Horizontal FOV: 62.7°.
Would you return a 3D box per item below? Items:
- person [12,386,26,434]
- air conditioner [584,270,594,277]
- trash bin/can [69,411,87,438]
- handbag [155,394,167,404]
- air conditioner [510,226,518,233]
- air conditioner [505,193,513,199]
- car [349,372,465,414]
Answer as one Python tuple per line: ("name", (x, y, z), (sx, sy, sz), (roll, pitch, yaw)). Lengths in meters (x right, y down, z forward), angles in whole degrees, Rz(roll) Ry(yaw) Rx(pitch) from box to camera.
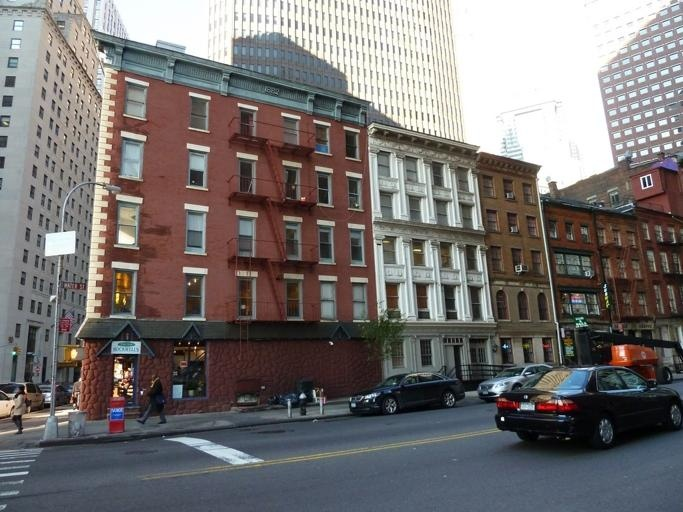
("person", (-13.562, 6.495, 23.711), (0.445, 1.930, 1.297), (1, -11, -28))
("air conditioner", (20.805, 1.376, 46.894), (0.985, 0.659, 0.549), (3, -11, -34))
("trash bin/can", (-9.900, 6.265, 21.091), (0.563, 0.896, 0.698), (1, -10, -27))
("handbag", (-7.761, 6.162, 24.274), (0.391, 0.323, 0.356), (-9, 8, -29))
("air conditioner", (13.783, -2.183, 44.508), (0.619, 0.513, 0.539), (-1, -24, 5))
("air conditioner", (13.586, -4.963, 45.005), (0.659, 0.502, 0.158), (-3, -5, -20))
("car", (3.231, 6.342, 26.219), (5.054, 1.258, 2.001), (6, -17, -27))
